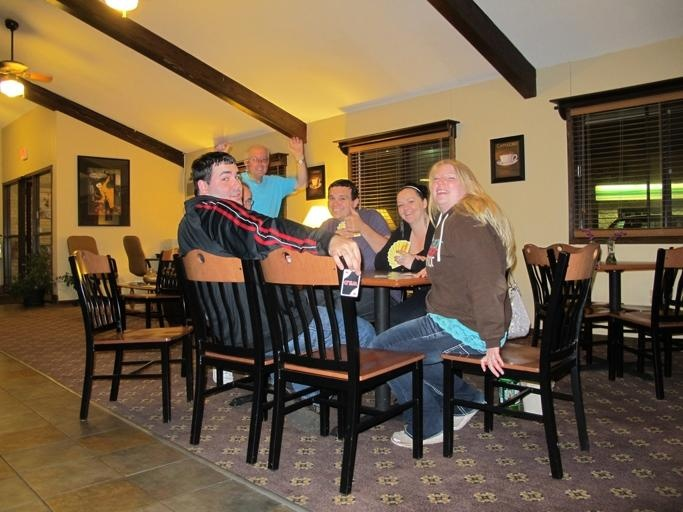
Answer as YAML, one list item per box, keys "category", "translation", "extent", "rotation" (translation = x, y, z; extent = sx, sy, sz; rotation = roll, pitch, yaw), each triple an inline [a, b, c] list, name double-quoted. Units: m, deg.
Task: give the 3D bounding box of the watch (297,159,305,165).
- category: "watch"
  translation: [-0.402, -0.965, 5.379]
  extent: [0.065, 0.020, 0.061]
  rotation: [4, -4, -38]

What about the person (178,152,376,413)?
- category: "person"
  translation: [-0.336, 0.068, 2.819]
  extent: [1.167, 1.301, 0.564]
  rotation: [3, 8, 31]

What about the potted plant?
- category: "potted plant"
  translation: [-5.390, 0.342, 9.462]
  extent: [1.138, 1.159, 1.352]
  rotation: [0, -9, 13]

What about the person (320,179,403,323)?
- category: "person"
  translation: [0.099, -0.099, 4.182]
  extent: [0.628, 0.912, 0.637]
  rotation: [0, 15, 40]

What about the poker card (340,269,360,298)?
- category: "poker card"
  translation: [0.041, 0.124, 2.336]
  extent: [0.091, 0.130, 0.057]
  rotation: [0, 7, 11]
